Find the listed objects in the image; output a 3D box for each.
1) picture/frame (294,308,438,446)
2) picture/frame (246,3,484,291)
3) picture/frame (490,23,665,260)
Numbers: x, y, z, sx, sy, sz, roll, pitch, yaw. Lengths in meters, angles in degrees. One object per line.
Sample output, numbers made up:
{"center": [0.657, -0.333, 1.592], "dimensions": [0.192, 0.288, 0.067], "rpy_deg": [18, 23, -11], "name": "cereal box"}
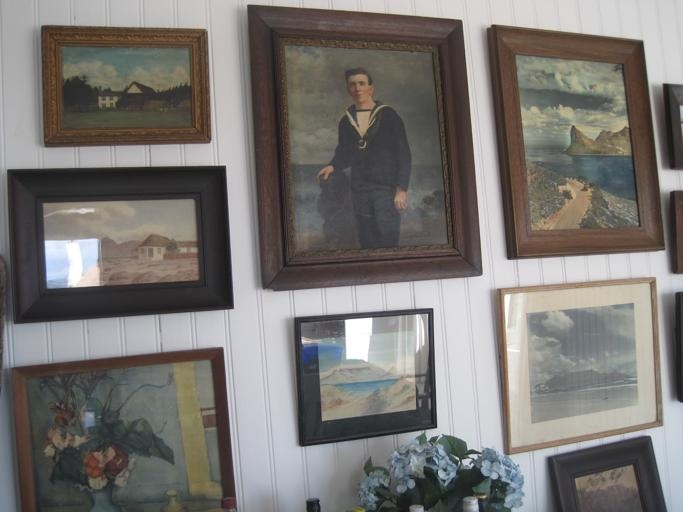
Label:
{"center": [0.065, 0.443, 2.675], "dimensions": [0.421, 0.425, 0.032], "rpy_deg": [-1, -6, -17], "name": "picture/frame"}
{"center": [0.048, -0.366, 2.701], "dimensions": [0.866, 1.238, 0.081], "rpy_deg": [-2, -3, -6], "name": "picture/frame"}
{"center": [0.875, -0.418, 2.896], "dimensions": [0.783, 1.093, 0.081], "rpy_deg": [-1, -4, -26], "name": "picture/frame"}
